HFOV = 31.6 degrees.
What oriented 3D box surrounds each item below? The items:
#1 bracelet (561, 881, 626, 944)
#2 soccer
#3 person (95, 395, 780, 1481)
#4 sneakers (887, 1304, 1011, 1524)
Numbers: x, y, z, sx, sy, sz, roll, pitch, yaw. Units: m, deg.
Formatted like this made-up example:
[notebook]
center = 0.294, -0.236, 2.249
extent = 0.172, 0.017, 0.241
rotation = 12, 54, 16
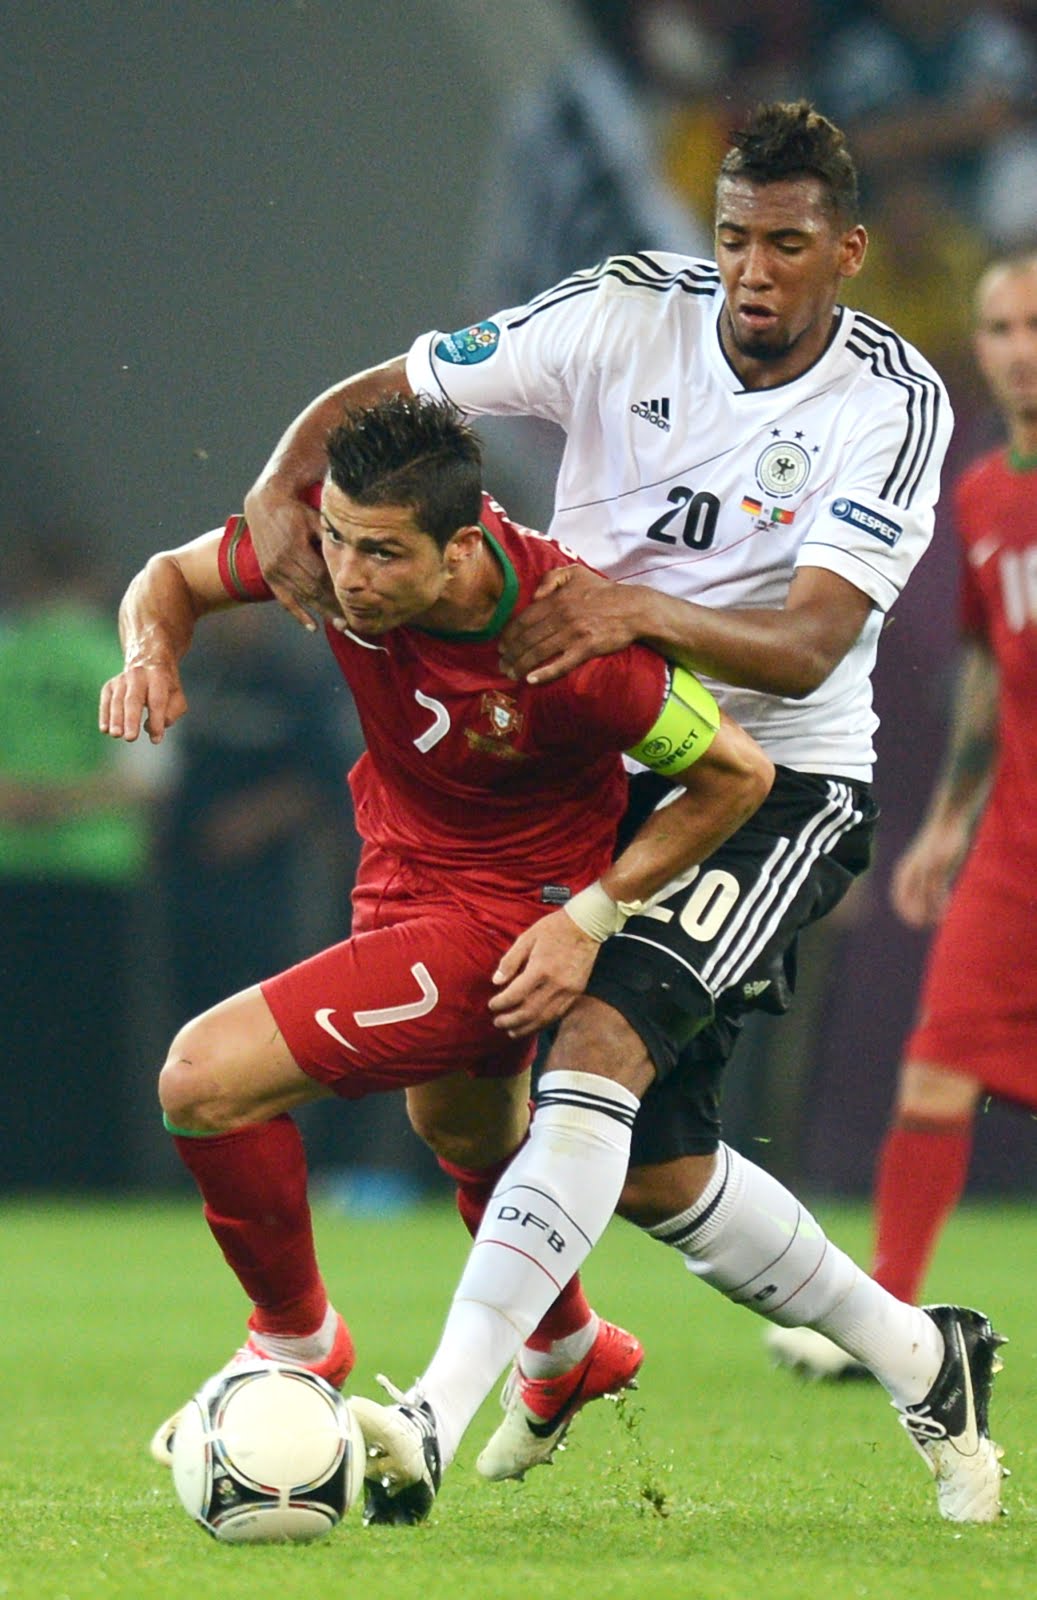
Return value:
[bracelet]
center = 0.100, 0.146, 2.397
extent = 0.073, 0.061, 0.087
rotation = 21, 35, 38
[soccer]
center = -0.265, 0.738, 2.079
extent = 0.219, 0.191, 0.187
rotation = 0, 55, -3
[person]
center = -0.159, 0.199, 2.581
extent = 0.826, 1.526, 0.779
rotation = -1, 22, -17
[sneakers]
center = 0.606, 0.817, 2.487
extent = 0.163, 0.282, 0.109
rotation = -4, -11, -10
